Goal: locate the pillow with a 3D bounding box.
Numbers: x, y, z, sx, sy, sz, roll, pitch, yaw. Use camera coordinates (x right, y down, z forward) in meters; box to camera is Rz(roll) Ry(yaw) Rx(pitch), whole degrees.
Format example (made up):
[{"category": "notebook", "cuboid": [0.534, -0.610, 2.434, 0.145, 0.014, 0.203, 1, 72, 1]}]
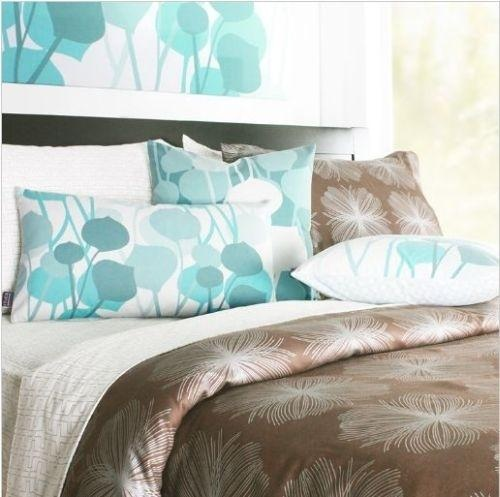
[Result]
[{"category": "pillow", "cuboid": [-0.026, -0.204, 1.776, 1.634, 0.531, 0.502, -11, 11, -15]}]
